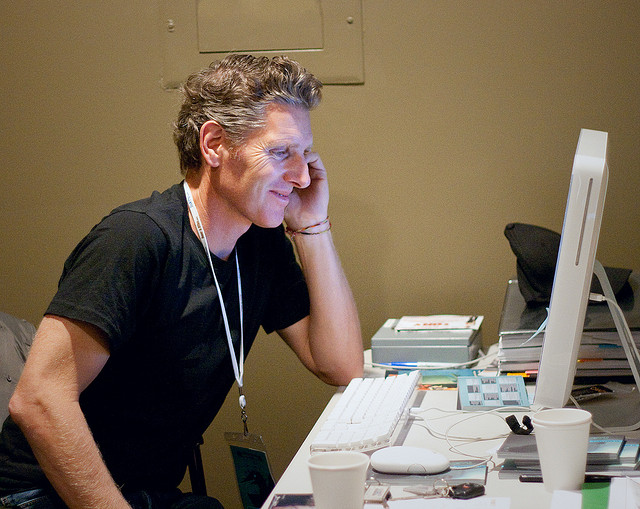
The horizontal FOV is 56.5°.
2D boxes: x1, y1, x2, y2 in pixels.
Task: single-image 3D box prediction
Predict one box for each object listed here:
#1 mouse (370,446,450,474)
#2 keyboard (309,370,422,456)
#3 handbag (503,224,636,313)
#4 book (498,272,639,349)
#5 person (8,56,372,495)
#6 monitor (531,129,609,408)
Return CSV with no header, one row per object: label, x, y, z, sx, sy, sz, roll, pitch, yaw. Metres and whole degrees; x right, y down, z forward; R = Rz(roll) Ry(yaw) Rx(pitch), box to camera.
mouse,0.170,0.395,1.158,0.093,0.023,0.065,-1,5,6
keyboard,0.118,0.367,1.393,0.172,0.063,0.418,-5,8,18
handbag,0.738,0.048,1.769,0.316,0.273,0.135,9,-13,-1
book,0.645,0.178,1.650,0.262,0.071,0.286,0,13,11
person,-0.283,0.066,1.467,0.949,1.072,0.312,-12,9,-41
monitor,0.458,0.027,1.059,0.167,0.482,0.115,-9,7,-28
